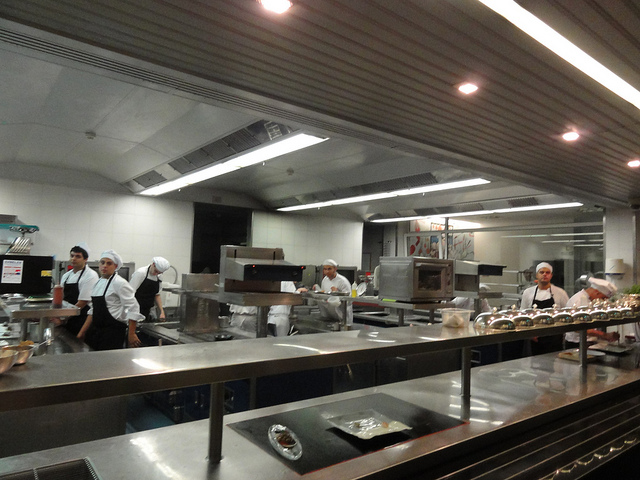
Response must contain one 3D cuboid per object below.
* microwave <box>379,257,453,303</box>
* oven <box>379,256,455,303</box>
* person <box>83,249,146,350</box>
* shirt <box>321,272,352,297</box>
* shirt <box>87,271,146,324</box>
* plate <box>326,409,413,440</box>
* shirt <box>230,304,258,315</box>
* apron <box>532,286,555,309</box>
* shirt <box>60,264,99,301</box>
[{"bbox_3d":[0.902,0.361,3.917,0.616,0.310,0.436,7,-6,-37],"label":"microwave"},{"bbox_3d":[0.902,0.349,3.916,0.641,0.326,0.455,6,-6,-39],"label":"oven"},{"bbox_3d":[-2.116,0.694,4.392,0.551,1.013,0.973,5,11,-26],"label":"person"},{"bbox_3d":[0.282,0.696,6.372,0.275,0.328,0.521,17,-13,-42],"label":"shirt"},{"bbox_3d":[-2.172,0.609,4.493,0.833,0.538,0.385,3,-2,24],"label":"shirt"},{"bbox_3d":[0.236,0.890,2.078,0.343,0.046,0.264,1,11,-34],"label":"plate"},{"bbox_3d":[-0.775,0.710,4.393,0.251,0.090,0.450,5,-7,-34],"label":"shirt"},{"bbox_3d":[2.668,0.673,5.031,0.290,0.279,0.425,-1,-5,13],"label":"apron"},{"bbox_3d":[-2.799,0.508,4.929,0.558,0.430,0.281,-2,4,27],"label":"shirt"}]
